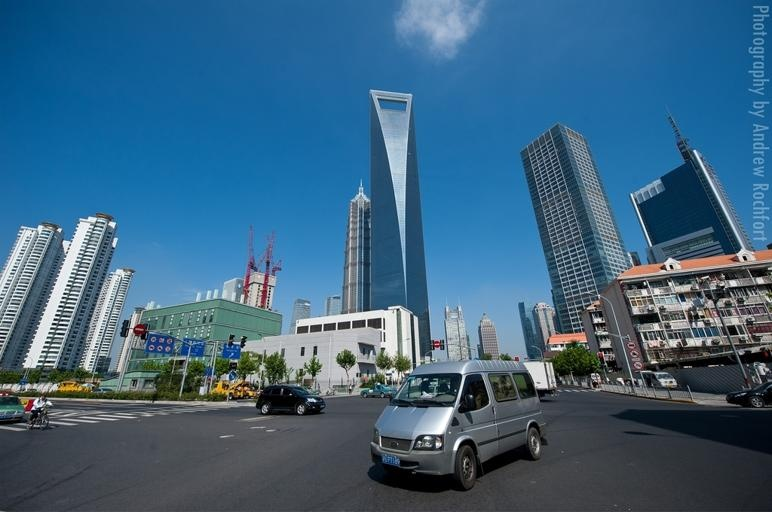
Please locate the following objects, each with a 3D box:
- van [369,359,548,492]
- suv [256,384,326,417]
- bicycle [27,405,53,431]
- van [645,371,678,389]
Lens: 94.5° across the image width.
[{"bbox_3d":[3.060,5.986,13.404,6.587,3.020,3.570,19,-30,-39],"label":"van"},{"bbox_3d":[-7.020,10.591,25.989,4.217,1.713,2.365,-9,-23,17],"label":"suv"},{"bbox_3d":[-20.188,9.357,20.576,0.925,1.248,1.490,15,-25,-40],"label":"bicycle"},{"bbox_3d":[31.123,13.798,39.529,2.263,1.600,4.185,-17,-24,37],"label":"van"}]
